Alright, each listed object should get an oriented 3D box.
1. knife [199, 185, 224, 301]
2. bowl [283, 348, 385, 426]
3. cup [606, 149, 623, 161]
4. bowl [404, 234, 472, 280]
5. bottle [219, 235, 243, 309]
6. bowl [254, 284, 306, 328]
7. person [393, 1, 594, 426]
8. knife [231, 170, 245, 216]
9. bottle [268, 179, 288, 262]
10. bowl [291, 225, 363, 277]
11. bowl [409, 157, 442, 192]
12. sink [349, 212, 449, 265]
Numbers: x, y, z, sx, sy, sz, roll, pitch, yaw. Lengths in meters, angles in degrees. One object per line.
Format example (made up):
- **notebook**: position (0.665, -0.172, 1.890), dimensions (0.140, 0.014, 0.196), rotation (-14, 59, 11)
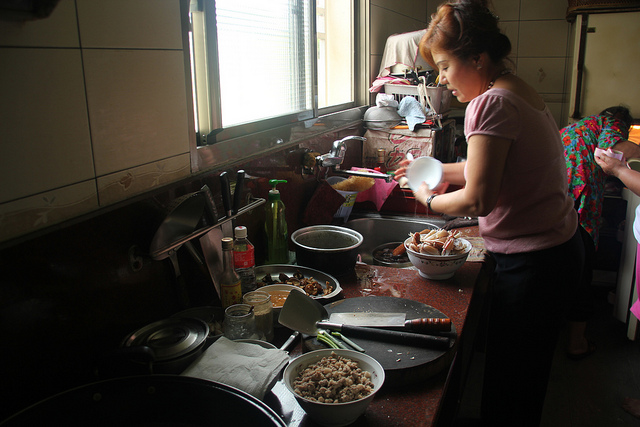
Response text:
- **knife**: position (-0.388, 0.103, 1.594), dimensions (0.031, 0.426, 0.085), rotation (3, 20, 28)
- **bowl**: position (0.041, 0.509, 1.249), dimensions (0.253, 0.138, 0.218), rotation (12, 27, 30)
- **cup**: position (1.744, -0.344, 2.560), dimensions (0.063, 0.046, 0.089), rotation (14, -1, 45)
- **bowl**: position (0.530, 0.205, 1.970), dimensions (0.293, 0.134, 0.297), rotation (-1, 15, 0)
- **bottle**: position (-0.325, 0.210, 1.526), dimensions (0.074, 0.231, 0.107), rotation (-8, 23, -12)
- **bowl**: position (-0.168, 0.320, 1.607), dimensions (0.150, 0.067, 0.154), rotation (-1, 8, 0)
- **person**: position (0.744, 0.082, 1.772), dimensions (0.686, 1.752, 0.396), rotation (2, 23, 12)
- **knife**: position (-0.305, -0.073, 1.635), dimensions (0.023, 0.168, 0.026), rotation (11, 14, 38)
- **bottle**: position (-0.200, 0.060, 1.963), dimensions (0.083, 0.312, 0.093), rotation (-3, 22, 1)
- **bowl**: position (0.031, 0.164, 1.944), dimensions (0.320, 0.138, 0.331), rotation (2, 14, -1)
- **bowl**: position (0.454, -0.178, 1.873), dimensions (0.145, 0.118, 0.087), rotation (-11, 24, -20)
- **sink**: position (0.434, 0.119, 2.592), dimensions (0.455, 0.176, 0.301), rotation (3, 17, 12)
